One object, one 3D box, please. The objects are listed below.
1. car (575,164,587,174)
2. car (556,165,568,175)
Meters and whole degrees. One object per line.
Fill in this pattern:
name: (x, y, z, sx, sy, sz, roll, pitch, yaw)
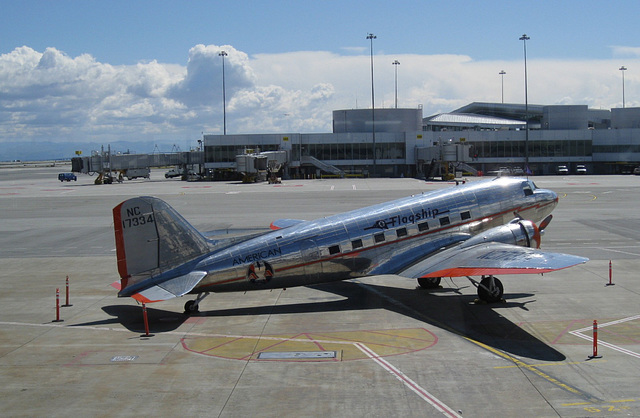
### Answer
car: (60.061, -9.326, 123.433, 2.264, 2.154, 6.733, 1, 5, 24)
car: (55.970, -9.199, 123.508, 2.387, 2.137, 6.400, 1, 5, 23)
